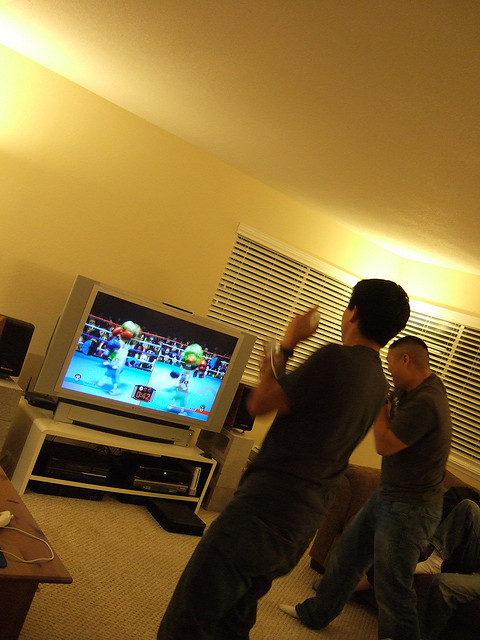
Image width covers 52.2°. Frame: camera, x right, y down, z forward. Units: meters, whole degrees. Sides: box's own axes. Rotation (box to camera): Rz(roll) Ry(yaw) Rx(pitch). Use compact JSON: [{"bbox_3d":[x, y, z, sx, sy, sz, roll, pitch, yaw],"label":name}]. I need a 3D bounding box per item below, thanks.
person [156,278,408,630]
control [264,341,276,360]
[{"bbox_3d":[0.159,0.356,1.312,0.369,0.909,0.191,23,-4,-24],"label":"person"},{"bbox_3d":[0.077,0.082,1.334,0.034,0.042,0.011,8,-2,17],"label":"control"}]
